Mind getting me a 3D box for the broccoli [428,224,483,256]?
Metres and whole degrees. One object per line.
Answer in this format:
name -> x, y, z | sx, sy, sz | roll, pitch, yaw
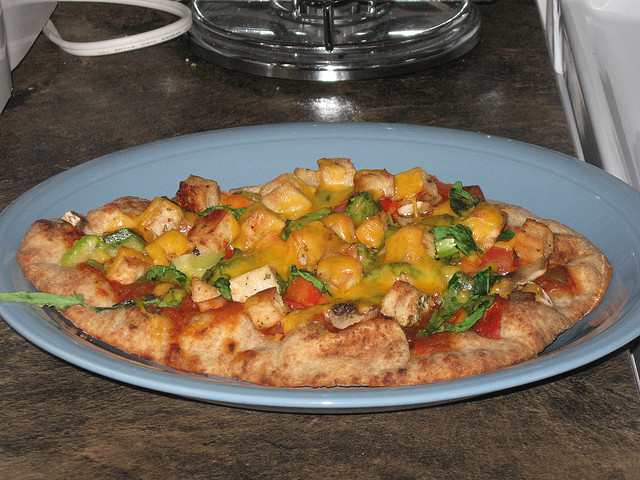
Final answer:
broccoli -> 0.461, 0.000, 2.033 | 0.154, 0.036, 0.120 | -6, 42, -15
